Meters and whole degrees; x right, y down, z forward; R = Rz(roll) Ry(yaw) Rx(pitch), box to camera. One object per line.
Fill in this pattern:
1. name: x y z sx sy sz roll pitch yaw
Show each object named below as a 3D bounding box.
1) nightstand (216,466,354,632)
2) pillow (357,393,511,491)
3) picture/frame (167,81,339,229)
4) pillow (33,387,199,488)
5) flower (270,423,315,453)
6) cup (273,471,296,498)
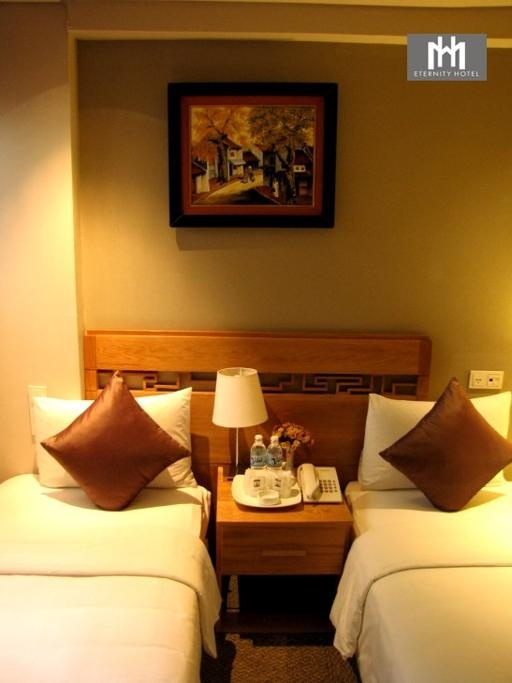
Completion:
1. nightstand: 0.079 0.881 2.350 0.576 0.555 0.481 -1 32 -2
2. pillow: 0.722 0.412 2.265 0.385 0.375 0.116 3 -8 4
3. picture/frame: -0.009 -0.831 2.436 0.618 0.528 0.030 0 18 0
4. pillow: -0.569 0.392 2.248 0.438 0.273 0.127 0 5 2
5. flower: 0.161 0.403 2.442 0.168 0.129 0.076 -11 26 16
6. cup: 0.114 0.567 2.259 0.108 0.110 0.075 3 6 4
